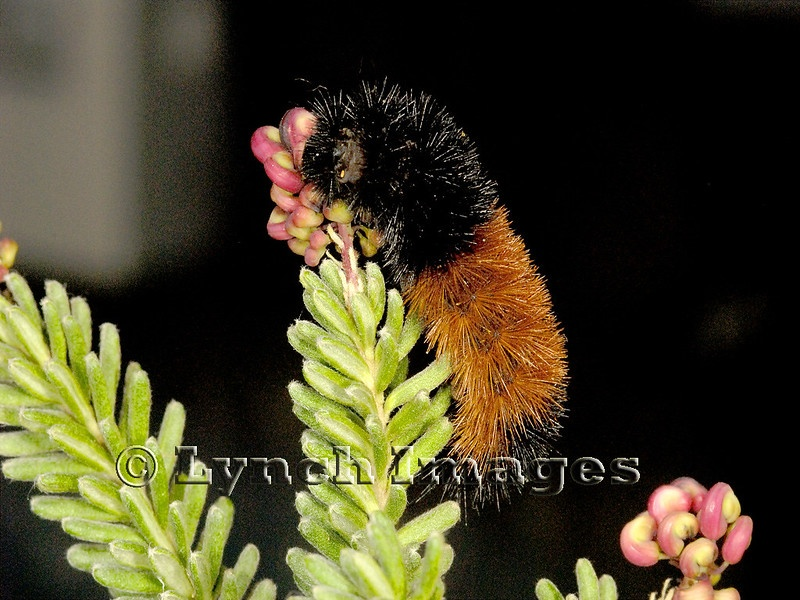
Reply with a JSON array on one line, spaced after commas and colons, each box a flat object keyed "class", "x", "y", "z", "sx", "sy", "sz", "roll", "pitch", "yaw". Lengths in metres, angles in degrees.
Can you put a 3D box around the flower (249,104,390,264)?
[{"class": "flower", "x": -0.092, "y": -0.141, "z": 1.500, "sx": 0.081, "sy": 0.248, "sz": 0.135, "roll": -23, "pitch": -1, "yaw": -44}]
